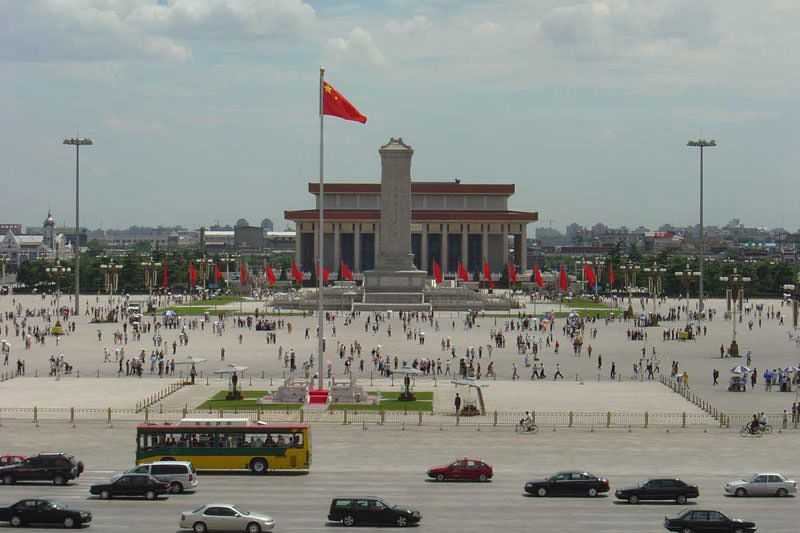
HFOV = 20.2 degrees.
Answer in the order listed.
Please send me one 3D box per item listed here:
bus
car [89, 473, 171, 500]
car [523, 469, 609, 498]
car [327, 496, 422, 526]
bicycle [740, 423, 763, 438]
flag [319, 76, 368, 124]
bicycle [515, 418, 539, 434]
[{"bbox_3d":[-16.713,17.746,217.929,21.232,5.339,5.718,0,3,0],"label":"bus"},{"bbox_3d":[-25.224,21.263,211.519,3.270,2.032,9.440,-2,-4,42],"label":"car"},{"bbox_3d":[15.729,21.133,213.039,7.547,1.883,2.881,2,-3,1],"label":"car"},{"bbox_3d":[-2.351,23.465,209.233,7.820,2.094,3.185,-1,-1,2],"label":"car"},{"bbox_3d":[34.776,16.924,223.702,2.230,1.130,1.013,1,-2,8],"label":"bicycle"},{"bbox_3d":[-6.210,-16.601,229.492,3.514,4.100,2.134,-1,-1,-3],"label":"flag"},{"bbox_3d":[12.486,16.387,224.074,2.252,1.445,1.026,-1,-1,2],"label":"bicycle"}]
